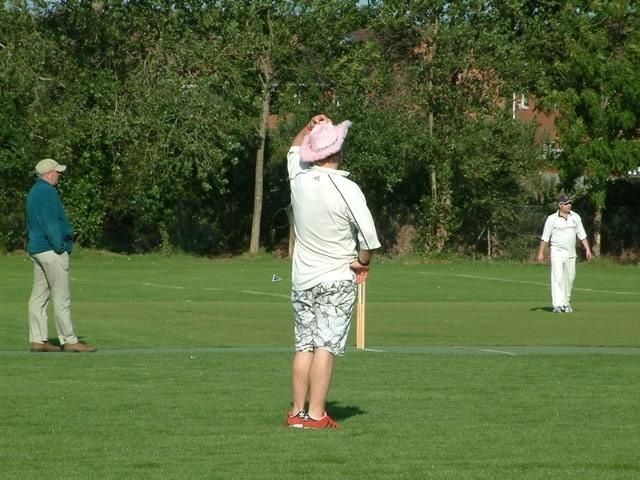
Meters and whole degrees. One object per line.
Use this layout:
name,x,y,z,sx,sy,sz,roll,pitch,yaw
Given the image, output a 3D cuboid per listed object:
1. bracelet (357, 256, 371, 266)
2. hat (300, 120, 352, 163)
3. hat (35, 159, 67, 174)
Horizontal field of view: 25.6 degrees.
bracelet,0.959,0.475,30.834,0.215,0.162,0.220,2,4,9
hat,0.085,-2.182,30.817,0.867,0.990,0.412,31,-9,34
hat,-6.549,-1.780,34.132,0.599,0.294,0.385,-4,12,-17
